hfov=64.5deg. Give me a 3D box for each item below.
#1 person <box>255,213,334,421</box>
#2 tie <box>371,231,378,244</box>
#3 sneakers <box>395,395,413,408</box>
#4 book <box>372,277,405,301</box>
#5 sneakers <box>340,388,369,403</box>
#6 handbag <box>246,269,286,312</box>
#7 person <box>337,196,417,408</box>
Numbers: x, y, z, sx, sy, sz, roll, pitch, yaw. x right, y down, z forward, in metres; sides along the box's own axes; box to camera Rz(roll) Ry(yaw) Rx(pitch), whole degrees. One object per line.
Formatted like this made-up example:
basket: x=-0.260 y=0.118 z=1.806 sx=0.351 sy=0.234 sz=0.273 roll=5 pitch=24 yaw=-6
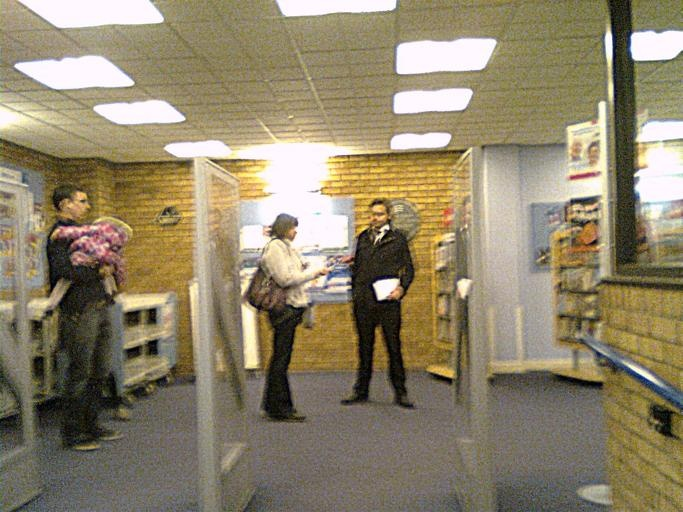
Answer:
person: x=-0.292 y=0.422 z=3.166 sx=0.350 sy=1.367 sz=0.446 roll=-8 pitch=15 yaw=-17
tie: x=0.197 y=-0.106 z=3.148 sx=0.036 sy=0.044 sz=0.012 roll=-10 pitch=-15 yaw=4
sneakers: x=0.410 y=0.947 z=3.489 sx=0.151 sy=0.092 sz=0.049 roll=-2 pitch=-1 yaw=3
book: x=0.270 y=0.196 z=3.141 sx=0.155 sy=0.137 sz=0.037 roll=-3 pitch=14 yaw=-2
sneakers: x=0.085 y=0.963 z=3.684 sx=0.221 sy=0.124 sz=0.076 roll=0 pitch=-15 yaw=14
handbag: x=-0.397 y=0.187 z=2.922 sx=0.227 sy=0.223 sz=0.112 roll=7 pitch=15 yaw=14
person: x=0.234 y=0.340 z=3.345 sx=0.520 sy=1.379 sz=0.376 roll=4 pitch=16 yaw=25
